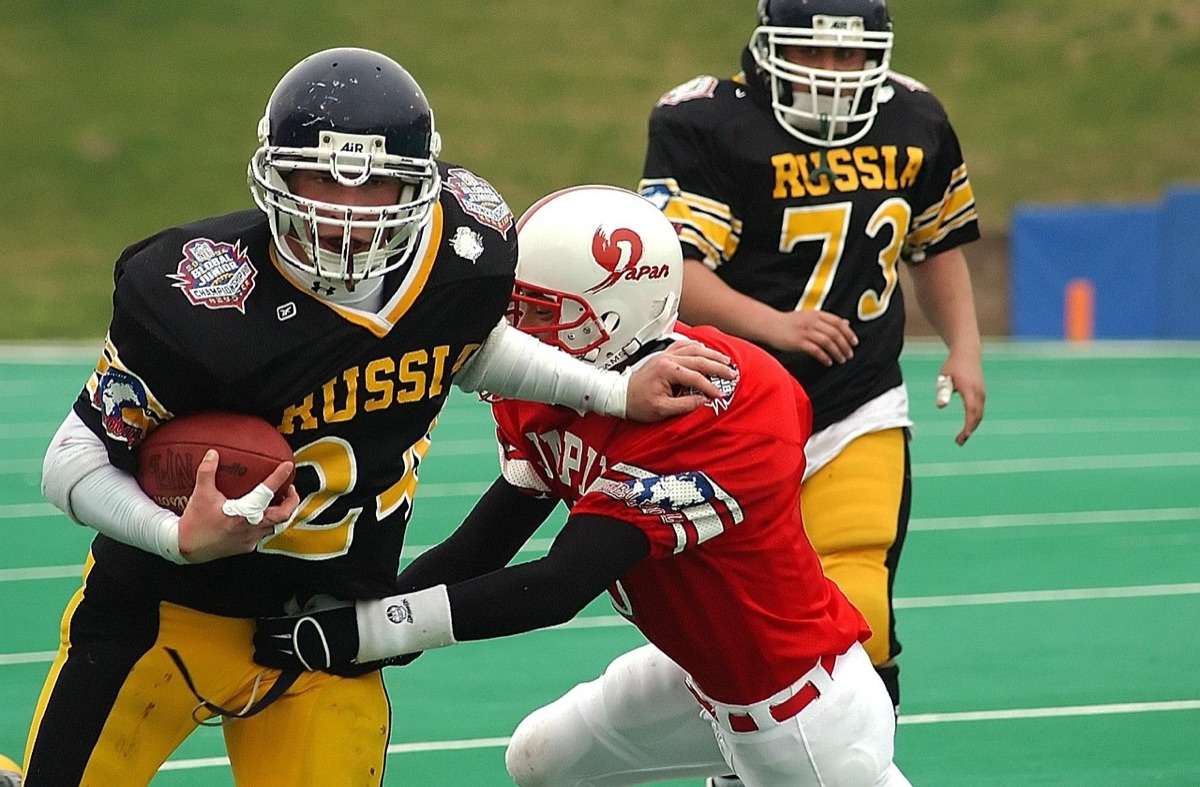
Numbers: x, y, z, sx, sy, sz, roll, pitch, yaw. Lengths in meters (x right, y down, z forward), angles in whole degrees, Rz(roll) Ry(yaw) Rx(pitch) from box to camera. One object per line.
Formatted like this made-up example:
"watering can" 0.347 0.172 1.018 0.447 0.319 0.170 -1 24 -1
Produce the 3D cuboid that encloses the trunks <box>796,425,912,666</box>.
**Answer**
"trunks" 0.857 0.492 4.417 0.531 0.667 0.252 -3 4 8

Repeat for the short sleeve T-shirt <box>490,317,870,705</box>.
"short sleeve T-shirt" 0.245 0.358 3.981 0.864 1.084 1.110 -25 22 -33

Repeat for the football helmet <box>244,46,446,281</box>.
"football helmet" -0.682 -0.636 3.554 0.520 0.556 0.605 6 19 -2

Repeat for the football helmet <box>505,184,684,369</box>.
"football helmet" -0.021 -0.360 3.864 0.583 0.451 0.440 1 22 -3

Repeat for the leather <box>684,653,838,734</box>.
"leather" 0.483 0.810 3.575 0.326 0.327 0.077 0 46 -32

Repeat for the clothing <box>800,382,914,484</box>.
"clothing" 0.855 0.111 4.393 0.379 0.210 0.277 -29 -6 0
